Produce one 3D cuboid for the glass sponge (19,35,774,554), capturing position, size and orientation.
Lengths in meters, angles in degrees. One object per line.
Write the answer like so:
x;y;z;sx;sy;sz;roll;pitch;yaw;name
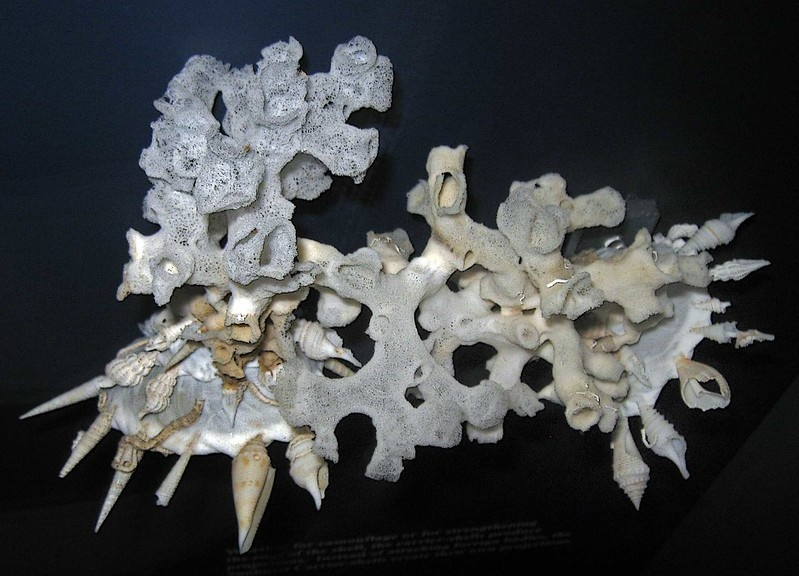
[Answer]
-0.068;-0.016;2.960;1.778;1.185;0.545;-5;2;0;glass sponge
